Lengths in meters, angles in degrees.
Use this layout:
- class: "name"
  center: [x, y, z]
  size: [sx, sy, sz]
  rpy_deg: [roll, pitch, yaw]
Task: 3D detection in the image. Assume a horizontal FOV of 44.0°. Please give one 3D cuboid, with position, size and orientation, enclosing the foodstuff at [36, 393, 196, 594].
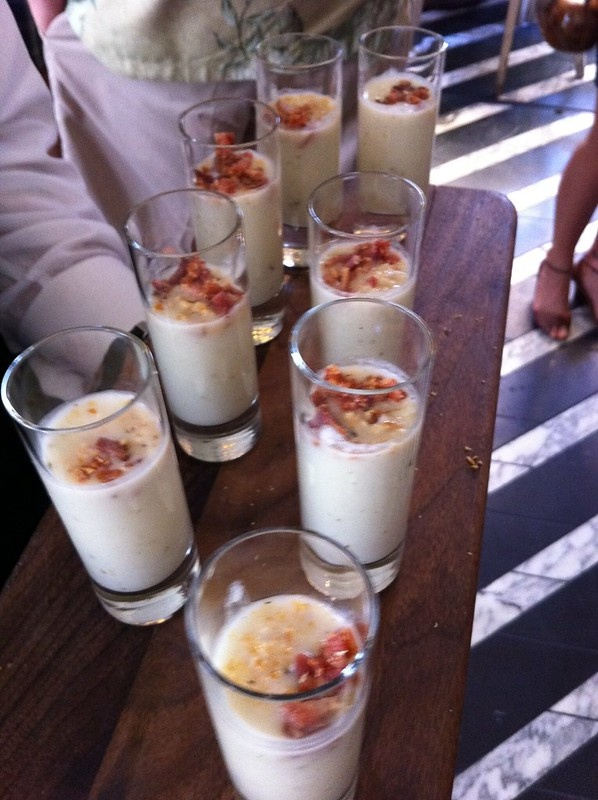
- class: "foodstuff"
  center: [-0.158, 0.092, 0.651]
  size: [0.122, 0.178, 0.116]
  rpy_deg: [-4, 21, 17]

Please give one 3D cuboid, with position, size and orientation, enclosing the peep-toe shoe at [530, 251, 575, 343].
- class: "peep-toe shoe"
  center: [0.615, -0.257, 1.834]
  size: [0.083, 0.109, 0.245]
  rpy_deg: [5, 57, 12]

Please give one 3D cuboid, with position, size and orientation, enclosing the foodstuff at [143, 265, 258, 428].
- class: "foodstuff"
  center: [-0.105, -0.039, 0.781]
  size: [0.113, 0.163, 0.104]
  rpy_deg: [-10, 28, -7]

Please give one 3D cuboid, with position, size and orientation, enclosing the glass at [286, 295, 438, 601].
- class: "glass"
  center: [0.049, 0.060, 0.650]
  size: [0.104, 0.229, 0.096]
  rpy_deg: [-11, 37, -15]

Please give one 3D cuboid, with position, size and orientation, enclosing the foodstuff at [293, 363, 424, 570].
- class: "foodstuff"
  center: [0.048, 0.058, 0.613]
  size: [0.105, 0.185, 0.077]
  rpy_deg: [1, 45, 9]

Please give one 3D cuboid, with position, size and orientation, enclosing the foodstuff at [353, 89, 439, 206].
- class: "foodstuff"
  center: [0.141, -0.380, 1.076]
  size: [0.100, 0.149, 0.088]
  rpy_deg: [-3, 52, 0]

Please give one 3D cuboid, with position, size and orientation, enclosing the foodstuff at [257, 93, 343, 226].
- class: "foodstuff"
  center: [-0.021, -0.360, 1.074]
  size: [0.170, 0.180, 0.155]
  rpy_deg: [-5, 46, -2]
